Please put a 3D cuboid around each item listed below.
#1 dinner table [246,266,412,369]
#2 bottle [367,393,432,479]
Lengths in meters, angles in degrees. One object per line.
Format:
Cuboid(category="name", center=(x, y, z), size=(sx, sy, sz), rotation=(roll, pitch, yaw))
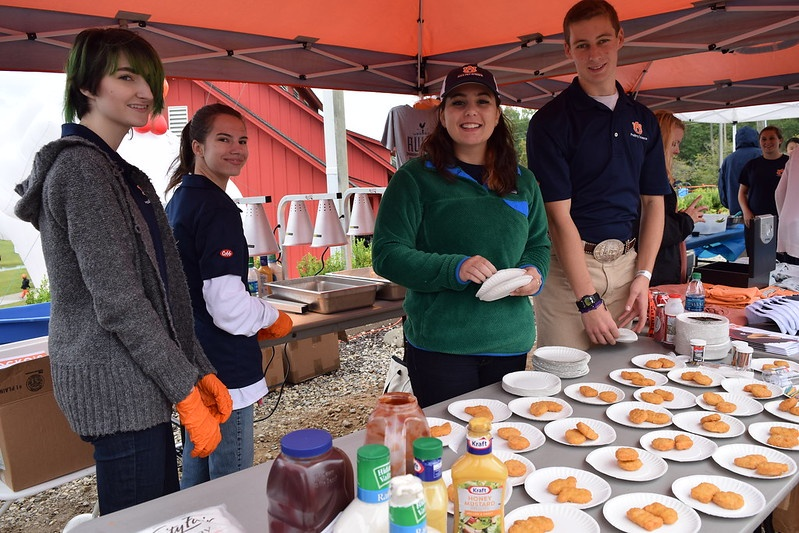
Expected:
Cuboid(category="dinner table", center=(-0.525, 0.447, 4.206), size=(0.807, 0.191, 1.371), rotation=(9, 15, 41))
Cuboid(category="bottle", center=(0.022, 0.504, 1.635), size=(0.208, 0.257, 0.209), rotation=(-3, -2, 34))
